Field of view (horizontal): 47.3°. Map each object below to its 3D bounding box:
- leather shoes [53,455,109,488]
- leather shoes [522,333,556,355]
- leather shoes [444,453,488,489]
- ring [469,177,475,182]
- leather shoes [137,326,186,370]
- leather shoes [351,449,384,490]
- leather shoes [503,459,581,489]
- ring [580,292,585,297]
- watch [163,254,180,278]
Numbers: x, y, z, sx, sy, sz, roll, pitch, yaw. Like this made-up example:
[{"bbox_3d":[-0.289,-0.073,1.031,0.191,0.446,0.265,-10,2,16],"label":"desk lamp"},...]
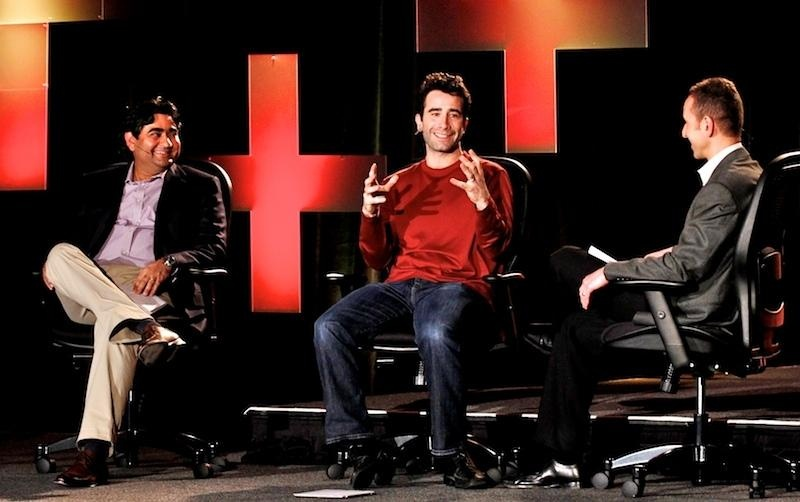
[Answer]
[{"bbox_3d":[-1.628,1.111,4.574,0.117,0.125,0.301,-6,-14,36],"label":"leather shoes"},{"bbox_3d":[0.739,0.485,4.828,0.204,0.060,0.078,18,-11,20],"label":"leather shoes"},{"bbox_3d":[0.311,1.087,4.484,0.276,0.187,0.124,-6,-6,28],"label":"leather shoes"},{"bbox_3d":[0.360,-0.363,4.608,0.027,0.013,0.035,-1,-5,28],"label":"ring"},{"bbox_3d":[-1.203,0.496,4.646,0.133,0.157,0.271,46,-8,-6],"label":"leather shoes"},{"bbox_3d":[-0.169,1.083,4.530,0.066,0.186,0.124,11,-2,43],"label":"leather shoes"},{"bbox_3d":[0.692,1.118,4.606,0.412,0.144,0.135,1,-7,3],"label":"leather shoes"},{"bbox_3d":[0.911,0.217,4.561,0.021,0.016,0.021,0,-4,0],"label":"ring"},{"bbox_3d":[-1.207,0.076,4.802,0.098,0.093,0.042,6,-6,-13],"label":"watch"}]
